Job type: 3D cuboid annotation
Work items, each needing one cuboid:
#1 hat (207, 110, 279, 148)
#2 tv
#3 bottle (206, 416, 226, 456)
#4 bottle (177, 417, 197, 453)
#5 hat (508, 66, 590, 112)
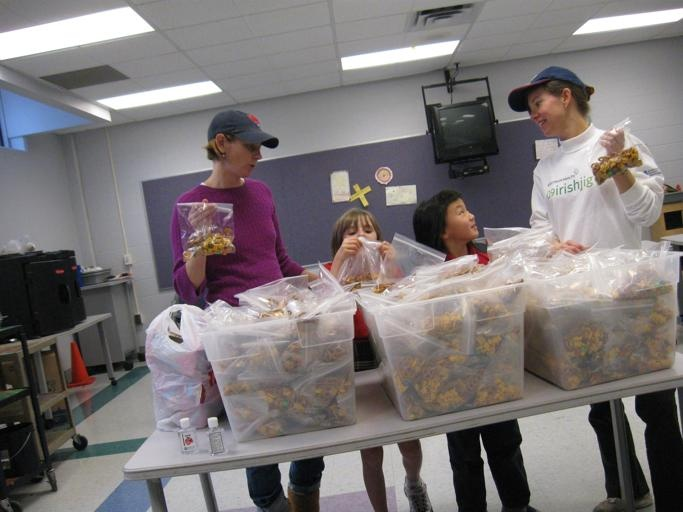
[{"bbox_3d":[-0.442,-0.554,2.023,0.290,0.159,0.192,-2,11,10],"label":"hat"},{"bbox_3d":[1.389,-1.352,5.299,0.748,0.759,0.414,-7,0,12],"label":"tv"},{"bbox_3d":[-0.408,0.585,1.497,0.055,0.115,0.053,-15,-32,-10],"label":"bottle"},{"bbox_3d":[-0.505,0.584,1.530,0.052,0.131,0.044,-8,22,-15],"label":"bottle"},{"bbox_3d":[1.000,-0.832,2.218,0.266,0.145,0.175,6,6,24],"label":"hat"}]
